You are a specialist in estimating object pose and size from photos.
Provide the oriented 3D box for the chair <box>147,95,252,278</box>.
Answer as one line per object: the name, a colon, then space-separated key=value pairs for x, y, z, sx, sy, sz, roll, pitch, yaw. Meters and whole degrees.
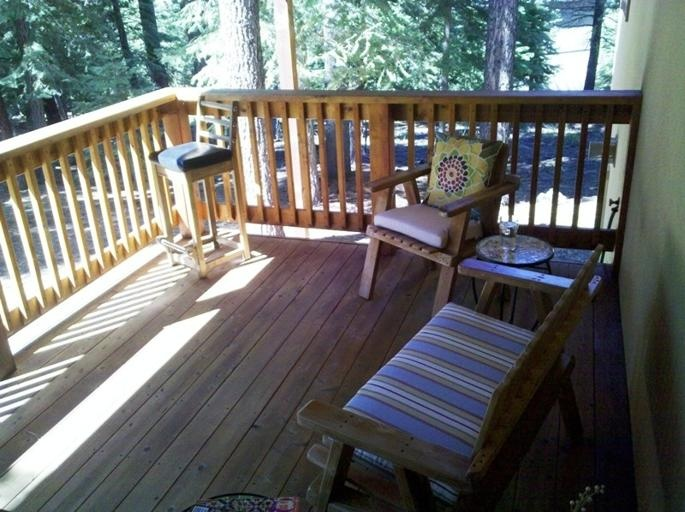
chair: x=-1.149 y=-0.595 z=3.989 sx=0.768 sy=1.181 sz=1.047 roll=-8 pitch=25 yaw=-10
